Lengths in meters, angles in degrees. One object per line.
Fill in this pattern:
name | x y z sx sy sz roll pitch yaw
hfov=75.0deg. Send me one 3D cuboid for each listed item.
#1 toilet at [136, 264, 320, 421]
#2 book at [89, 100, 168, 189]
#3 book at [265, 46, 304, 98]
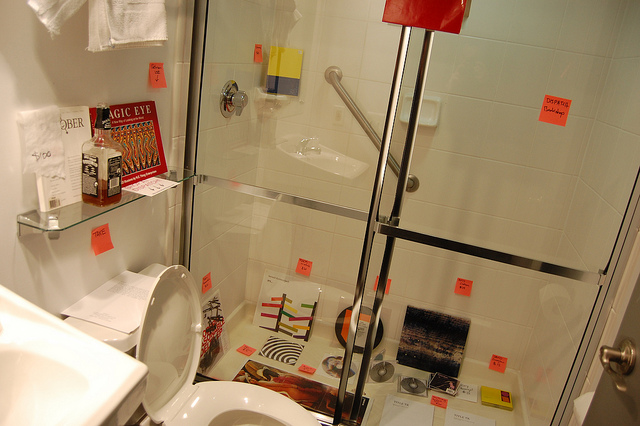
toilet | -0.380 0.557 1.811 0.473 0.399 0.680 11 -59 22
book | -0.775 -0.280 1.723 0.402 0.018 0.303 -1 -76 33
book | -0.154 -0.591 1.734 0.140 0.196 0.019 7 2 0
